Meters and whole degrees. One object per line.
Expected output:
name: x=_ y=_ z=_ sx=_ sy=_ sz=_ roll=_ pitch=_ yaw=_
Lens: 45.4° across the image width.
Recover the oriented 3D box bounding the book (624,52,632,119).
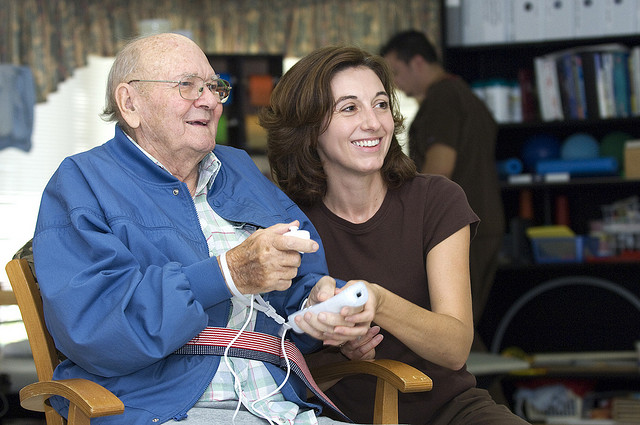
book: x=1.258 y=-0.519 z=3.121 sx=0.024 sy=0.267 sz=0.029 roll=-2 pitch=10 yaw=12

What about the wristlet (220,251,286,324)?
wristlet: x=-0.257 y=0.304 z=2.795 sx=0.063 sy=0.305 sz=0.174 roll=-28 pitch=13 yaw=13

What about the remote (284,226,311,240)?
remote: x=-0.084 y=0.072 z=2.737 sx=0.059 sy=0.053 sz=0.095 roll=1 pitch=-2 yaw=-1

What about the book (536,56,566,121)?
book: x=1.019 y=-0.581 z=3.328 sx=0.047 sy=0.256 sz=0.258 roll=-16 pitch=-23 yaw=-1

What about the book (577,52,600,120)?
book: x=1.126 y=-0.541 z=3.191 sx=0.048 sy=0.219 sz=0.205 roll=-7 pitch=20 yaw=10

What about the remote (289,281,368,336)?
remote: x=0.023 y=0.368 z=2.800 sx=0.323 sy=0.230 sz=0.112 roll=1 pitch=11 yaw=32

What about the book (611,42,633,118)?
book: x=1.236 y=-0.539 z=3.128 sx=0.054 sy=0.242 sz=0.222 roll=-5 pitch=6 yaw=9
